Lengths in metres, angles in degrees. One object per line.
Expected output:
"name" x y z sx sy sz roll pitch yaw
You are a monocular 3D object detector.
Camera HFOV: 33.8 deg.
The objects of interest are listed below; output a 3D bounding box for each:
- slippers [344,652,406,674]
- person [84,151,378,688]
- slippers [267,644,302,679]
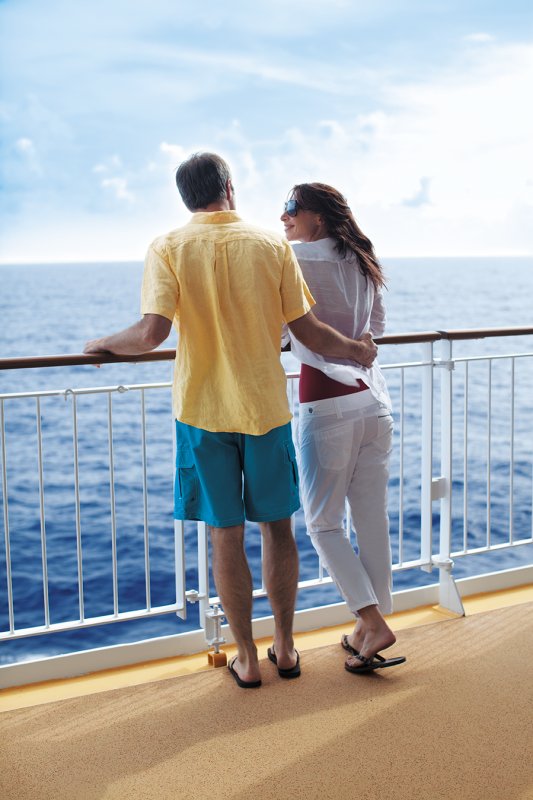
"slippers" 0.332 0.787 2.671 0.156 0.046 0.076 -6 -3 0
"person" -0.094 0.079 2.532 0.685 1.553 0.285 -3 5 -12
"slippers" 0.053 0.803 2.681 0.092 0.068 0.249 -2 -2 -4
